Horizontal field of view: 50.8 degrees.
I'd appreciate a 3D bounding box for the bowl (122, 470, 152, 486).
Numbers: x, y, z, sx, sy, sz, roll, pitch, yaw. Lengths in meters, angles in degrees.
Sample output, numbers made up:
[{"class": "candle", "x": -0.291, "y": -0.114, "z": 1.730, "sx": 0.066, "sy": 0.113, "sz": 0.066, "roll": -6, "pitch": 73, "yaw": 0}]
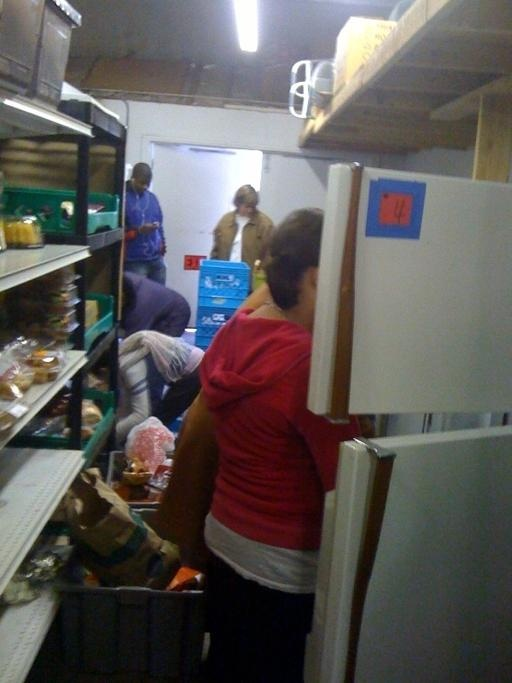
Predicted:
[{"class": "bowl", "x": -0.463, "y": 0.526, "z": 2.080, "sx": 0.078, "sy": 0.034, "sz": 0.059, "roll": 1, "pitch": -2, "yaw": -10}]
